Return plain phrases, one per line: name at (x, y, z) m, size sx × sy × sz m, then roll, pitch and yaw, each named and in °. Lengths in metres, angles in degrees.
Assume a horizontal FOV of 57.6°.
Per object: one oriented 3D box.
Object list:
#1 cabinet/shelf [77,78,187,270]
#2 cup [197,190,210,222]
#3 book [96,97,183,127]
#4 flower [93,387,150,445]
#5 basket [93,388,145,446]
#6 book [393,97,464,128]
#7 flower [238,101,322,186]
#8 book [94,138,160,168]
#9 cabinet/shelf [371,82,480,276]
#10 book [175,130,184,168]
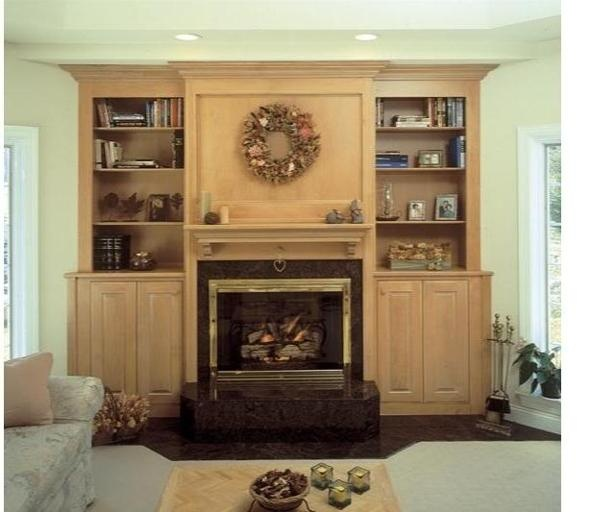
cabinet/shelf at (-1.196, -0.488, 3.849) m, size 0.899 × 1.234 × 0.409 m, roll -13°, pitch 10°, yaw -44°
cup at (-0.640, -0.298, 3.440) m, size 0.092 × 0.191 × 0.085 m, roll 0°, pitch 11°, yaw 0°
book at (-1.132, -0.966, 3.787) m, size 0.592 × 0.208 × 0.315 m, roll -1°, pitch 10°, yaw -7°
flower at (-1.100, 0.952, 3.302) m, size 0.326 × 0.130 × 0.333 m, roll 3°, pitch -1°, yaw -8°
basket at (-1.090, 0.947, 3.288) m, size 0.341 × 0.133 × 0.341 m, roll 3°, pitch -1°, yaw -8°
book at (0.801, -0.949, 3.710) m, size 0.483 × 0.198 × 0.103 m, roll 0°, pitch 11°, yaw 2°
flower at (-0.170, -0.690, 3.516) m, size 0.653 × 0.457 × 0.174 m, roll 4°, pitch 7°, yaw 1°
book at (-1.276, -0.661, 3.819) m, size 0.373 × 0.121 × 0.267 m, roll 0°, pitch 3°, yaw -5°
cabinet/shelf at (0.805, -0.535, 3.769) m, size 0.704 × 1.236 × 0.402 m, roll 1°, pitch 12°, yaw 4°
book at (-0.861, -0.716, 3.750) m, size 0.063 × 0.248 × 0.085 m, roll -1°, pitch 12°, yaw -3°
